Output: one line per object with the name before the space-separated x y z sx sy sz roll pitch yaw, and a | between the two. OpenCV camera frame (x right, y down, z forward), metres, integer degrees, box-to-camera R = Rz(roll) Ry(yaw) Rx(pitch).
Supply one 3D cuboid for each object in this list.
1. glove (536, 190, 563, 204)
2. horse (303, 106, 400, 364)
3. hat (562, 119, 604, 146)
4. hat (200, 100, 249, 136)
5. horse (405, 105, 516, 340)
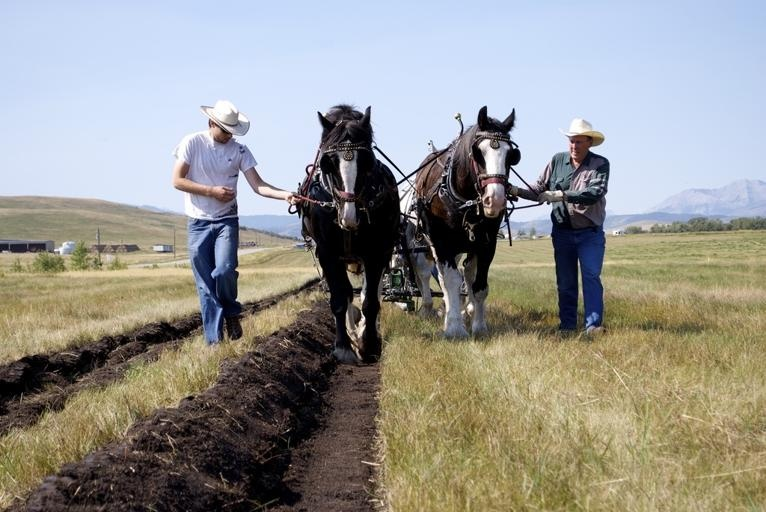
glove | 2.567 -0.868 8.782 0.349 0.232 0.602 -1 12 5
horse | -0.500 -0.290 8.093 1.132 3.552 1.578 1 12 12
hat | 3.046 -1.859 8.750 0.757 0.394 0.364 -12 16 -39
hat | -2.037 -1.826 7.761 0.401 0.183 0.467 6 -8 -22
horse | 1.256 -0.450 8.715 0.992 3.435 2.102 -5 12 -17
